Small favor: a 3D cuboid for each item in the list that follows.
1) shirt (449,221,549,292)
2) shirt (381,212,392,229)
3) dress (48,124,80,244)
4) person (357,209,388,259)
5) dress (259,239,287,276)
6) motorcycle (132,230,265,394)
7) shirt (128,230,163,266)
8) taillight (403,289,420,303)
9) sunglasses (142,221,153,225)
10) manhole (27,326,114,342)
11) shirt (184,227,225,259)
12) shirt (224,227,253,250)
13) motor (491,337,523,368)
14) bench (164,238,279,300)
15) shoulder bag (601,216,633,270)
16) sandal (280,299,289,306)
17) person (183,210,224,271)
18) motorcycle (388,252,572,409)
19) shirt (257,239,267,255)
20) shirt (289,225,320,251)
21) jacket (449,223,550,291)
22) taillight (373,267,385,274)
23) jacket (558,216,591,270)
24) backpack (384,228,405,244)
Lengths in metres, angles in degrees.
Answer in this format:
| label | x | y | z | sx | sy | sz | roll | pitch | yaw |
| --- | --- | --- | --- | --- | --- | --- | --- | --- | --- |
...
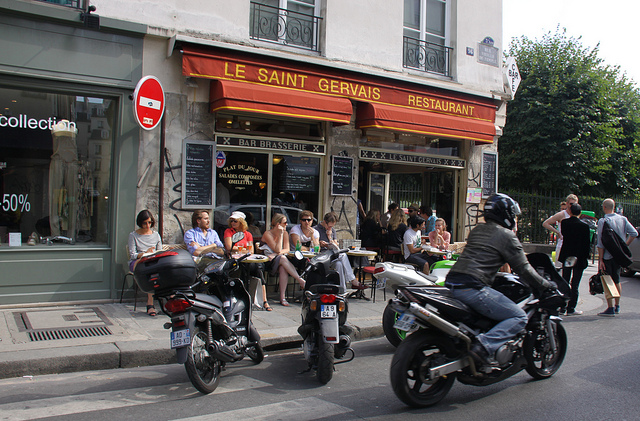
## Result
| label | x | y | z | sx | sy | sz | roll | pitch | yaw |
| --- | --- | --- | --- | --- | --- | --- | --- | --- | --- |
| shirt | 2.538 | 0.591 | 7.822 | 0.948 | 0.794 | 1.089 | 9 | 4 | -38 |
| shirt | 1.887 | 0.222 | 15.665 | 0.323 | 0.583 | 0.513 | 0 | 4 | -13 |
| dress | -5.074 | -0.476 | 10.975 | 0.614 | 2.344 | 0.440 | 0 | 2 | -32 |
| person | 1.510 | 0.500 | 13.799 | 0.724 | 1.208 | 0.666 | -19 | 3 | -24 |
| dress | -1.178 | 0.968 | 11.427 | 0.595 | 0.766 | 0.617 | 3 | -4 | -43 |
| motorcycle | -1.654 | 1.487 | 7.915 | 1.004 | 1.970 | 1.503 | 12 | 16 | 39 |
| shirt | -3.278 | 0.657 | 10.600 | 0.637 | 0.634 | 0.416 | 2 | 23 | 11 |
| taillight | 1.215 | 1.139 | 7.432 | 0.230 | 0.141 | 0.053 | 9 | 15 | 31 |
| sunglasses | -3.267 | 0.216 | 10.441 | 0.175 | 0.062 | 0.044 | -6 | 15 | -31 |
| manhole | -4.068 | 1.996 | 9.011 | 1.277 | 0.077 | 0.490 | -3 | 14 | -20 |
| shirt | -2.291 | 0.701 | 10.905 | 0.697 | 0.814 | 0.440 | -1 | -8 | -32 |
| shirt | -1.657 | 0.515 | 11.251 | 0.616 | 0.612 | 0.336 | 1 | -6 | -10 |
| motor | 2.597 | 1.992 | 7.559 | 0.442 | 0.254 | 0.181 | -12 | -24 | 8 |
| bench | -1.853 | 1.179 | 11.597 | 1.186 | 1.257 | 1.901 | 0 | 7 | 18 |
| shoulder bag | 6.301 | 0.678 | 11.772 | 0.355 | 0.949 | 0.996 | -32 | 2 | 27 |
| sandal | -0.745 | 1.853 | 11.295 | 0.136 | 0.113 | 0.201 | -2 | 13 | -16 |
| person | -2.170 | 0.575 | 10.784 | 0.775 | 1.177 | 1.037 | 1 | 3 | -44 |
| motorcycle | 1.996 | 1.718 | 7.546 | 3.154 | 1.919 | 0.976 | 2 | -1 | -37 |
| shirt | -1.270 | 0.783 | 11.870 | 0.246 | 0.336 | 0.244 | 5 | 10 | 21 |
| shirt | -0.333 | 0.558 | 11.806 | 0.624 | 0.457 | 0.565 | 1 | 13 | -3 |
| jacket | 2.535 | 0.688 | 8.008 | 1.178 | 1.005 | 1.408 | 4 | 5 | -25 |
| taillight | 0.913 | 0.930 | 8.615 | 0.192 | 0.148 | 0.052 | 13 | 17 | 40 |
| jacket | 5.394 | 0.690 | 11.716 | 0.608 | 1.141 | 0.384 | 7 | 14 | 25 |
| backpack | 1.777 | 0.488 | 13.366 | 0.296 | 0.506 | 0.531 | -6 | 6 | -27 |
